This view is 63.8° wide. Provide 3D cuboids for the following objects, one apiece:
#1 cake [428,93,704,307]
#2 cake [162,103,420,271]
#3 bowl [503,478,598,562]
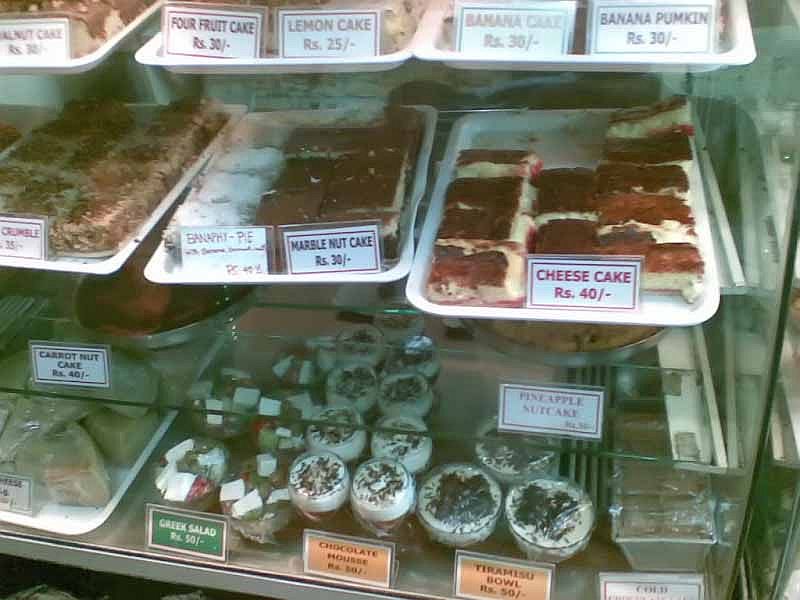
[{"bbox_3d":[0.380,-0.240,1.435,0.559,0.102,0.634,7,56,7],"label":"cake"},{"bbox_3d":[-0.243,-0.290,1.504,0.540,0.132,0.567,5,56,6],"label":"cake"},{"bbox_3d":[0.356,0.523,1.535,0.208,0.048,0.194,-1,55,2],"label":"bowl"}]
